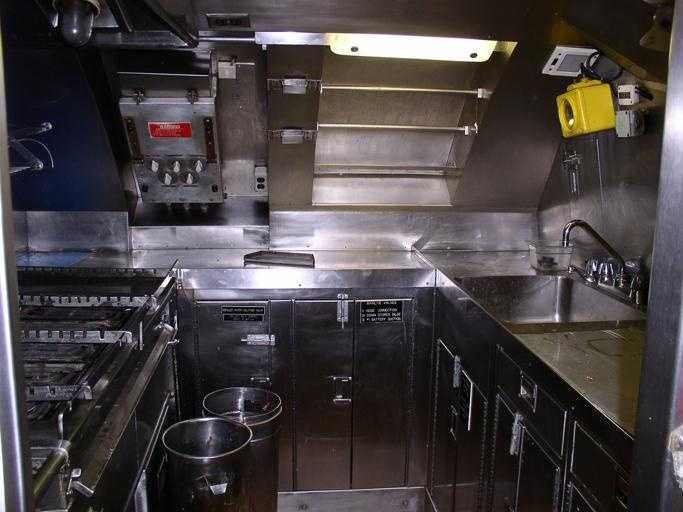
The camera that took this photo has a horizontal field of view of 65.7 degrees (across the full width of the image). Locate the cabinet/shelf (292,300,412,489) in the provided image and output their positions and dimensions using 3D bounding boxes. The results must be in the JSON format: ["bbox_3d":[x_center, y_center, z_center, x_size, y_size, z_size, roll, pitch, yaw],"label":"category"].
[{"bbox_3d":[0.070,0.817,3.076,0.673,0.271,1.103,0,-71,-6],"label":"cabinet/shelf"}]

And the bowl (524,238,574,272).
[{"bbox_3d":[1.161,-0.007,2.992,0.156,0.206,0.111,1,-86,4],"label":"bowl"}]
